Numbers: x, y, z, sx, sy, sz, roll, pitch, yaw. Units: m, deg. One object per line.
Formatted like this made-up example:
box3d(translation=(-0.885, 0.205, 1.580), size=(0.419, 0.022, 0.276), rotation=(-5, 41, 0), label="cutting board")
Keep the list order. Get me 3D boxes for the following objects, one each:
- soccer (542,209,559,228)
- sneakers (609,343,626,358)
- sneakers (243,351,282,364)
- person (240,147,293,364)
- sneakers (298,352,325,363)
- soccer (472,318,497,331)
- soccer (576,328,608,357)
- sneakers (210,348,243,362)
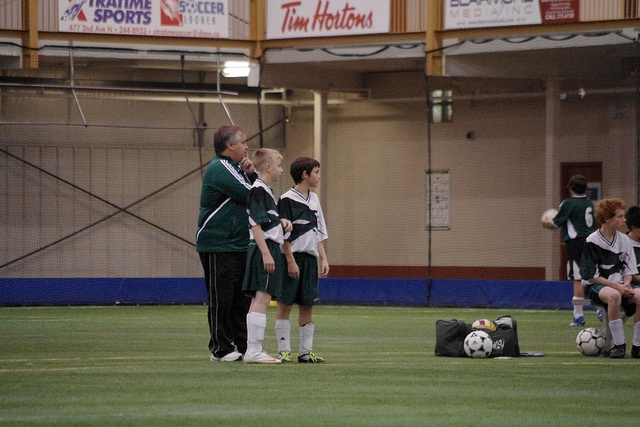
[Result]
box3d(translation=(4.625, 0.197, 27.428), size=(0.289, 0.269, 0.356), rotation=(19, -42, -25), label="soccer")
box3d(translation=(5.022, 2.426, 23.157), size=(0.266, 0.232, 0.268), rotation=(0, 0, 9), label="sneakers")
box3d(translation=(-0.922, 2.459, 22.481), size=(0.590, 0.195, 0.218), rotation=(0, -3, -1), label="sneakers")
box3d(translation=(-0.859, 0.779, 22.417), size=(0.705, 3.546, 0.448), rotation=(0, 1, -2), label="person")
box3d(translation=(-0.128, 2.493, 22.714), size=(0.501, 0.192, 0.157), rotation=(1, -5, -5), label="sneakers")
box3d(translation=(2.795, 1.971, 23.286), size=(0.286, 0.214, 0.197), rotation=(-11, 32, -10), label="soccer")
box3d(translation=(4.640, 2.307, 23.503), size=(0.497, 0.514, 0.442), rotation=(1, -15, 8), label="soccer")
box3d(translation=(-1.495, 2.446, 22.684), size=(0.546, 0.218, 0.189), rotation=(-2, -9, 1), label="sneakers")
